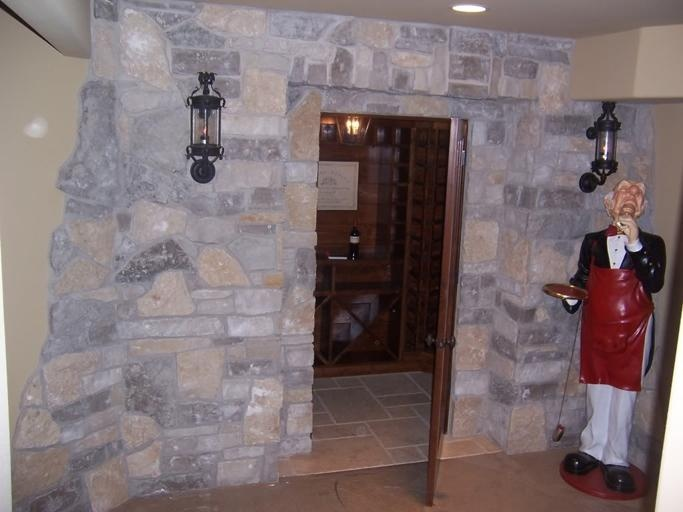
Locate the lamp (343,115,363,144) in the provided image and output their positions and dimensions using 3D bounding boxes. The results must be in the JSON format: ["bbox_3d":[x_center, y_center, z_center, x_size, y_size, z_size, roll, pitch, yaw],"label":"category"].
[{"bbox_3d":[0.110,-1.157,5.246,0.200,0.380,0.201,0,17,-7],"label":"lamp"}]

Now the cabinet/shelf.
[{"bbox_3d":[0.149,0.581,5.469,1.089,1.022,0.321,0,1,-11],"label":"cabinet/shelf"}]

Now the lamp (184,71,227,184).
[{"bbox_3d":[-0.806,-0.757,3.400,0.243,0.646,0.156,-2,9,-14],"label":"lamp"}]

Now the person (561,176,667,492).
[{"bbox_3d":[1.812,0.528,3.872,0.576,2.053,0.368,5,10,29],"label":"person"}]
